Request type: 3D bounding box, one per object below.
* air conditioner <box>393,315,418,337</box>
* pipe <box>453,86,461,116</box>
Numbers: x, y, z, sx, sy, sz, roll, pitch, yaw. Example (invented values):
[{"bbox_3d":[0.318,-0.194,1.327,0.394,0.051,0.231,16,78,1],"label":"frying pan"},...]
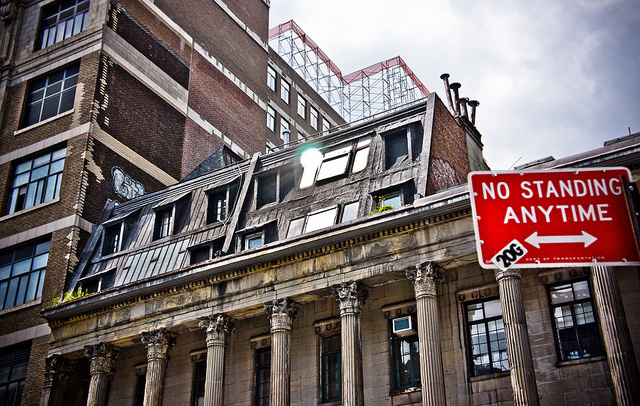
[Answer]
[{"bbox_3d":[4.573,6.840,39.531,1.467,1.085,1.039,-19,-48,33],"label":"air conditioner"},{"bbox_3d":[9.268,-6.809,49.244,0.397,2.011,1.212,-9,-30,10],"label":"pipe"}]
